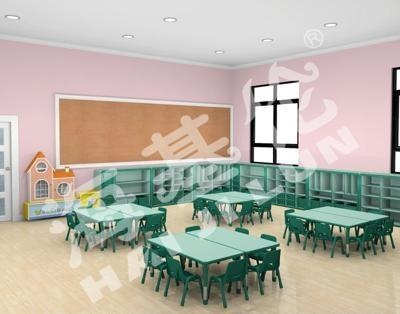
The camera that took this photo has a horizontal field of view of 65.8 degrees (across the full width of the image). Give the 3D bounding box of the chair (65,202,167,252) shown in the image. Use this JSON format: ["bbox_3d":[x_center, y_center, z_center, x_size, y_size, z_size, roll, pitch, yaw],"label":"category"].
[{"bbox_3d":[-1.867,1.300,6.337,1.195,0.465,0.966,-2,2,-40],"label":"chair"}]
